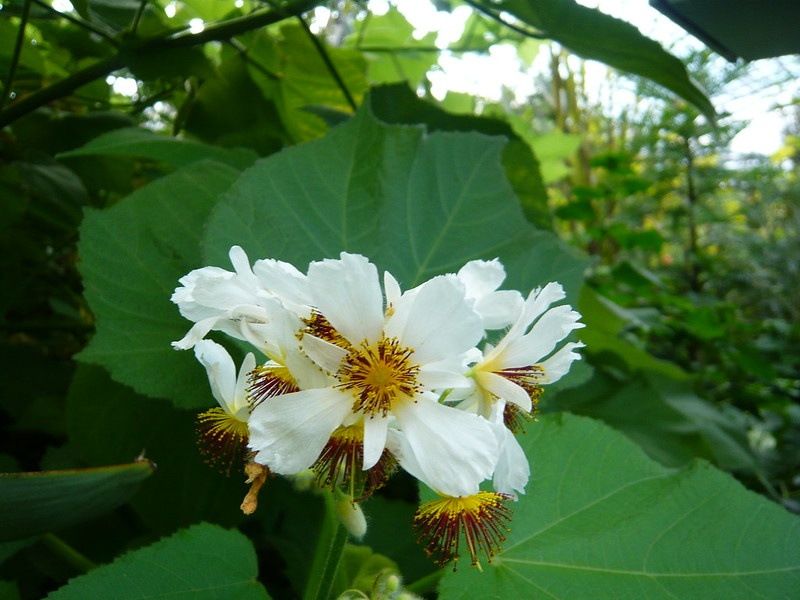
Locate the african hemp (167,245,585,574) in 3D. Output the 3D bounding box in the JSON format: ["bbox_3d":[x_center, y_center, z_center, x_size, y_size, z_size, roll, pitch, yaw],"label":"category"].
[{"bbox_3d":[-0.030,0.149,0.903,0.451,0.448,0.220,39,-26,12],"label":"african hemp"}]
